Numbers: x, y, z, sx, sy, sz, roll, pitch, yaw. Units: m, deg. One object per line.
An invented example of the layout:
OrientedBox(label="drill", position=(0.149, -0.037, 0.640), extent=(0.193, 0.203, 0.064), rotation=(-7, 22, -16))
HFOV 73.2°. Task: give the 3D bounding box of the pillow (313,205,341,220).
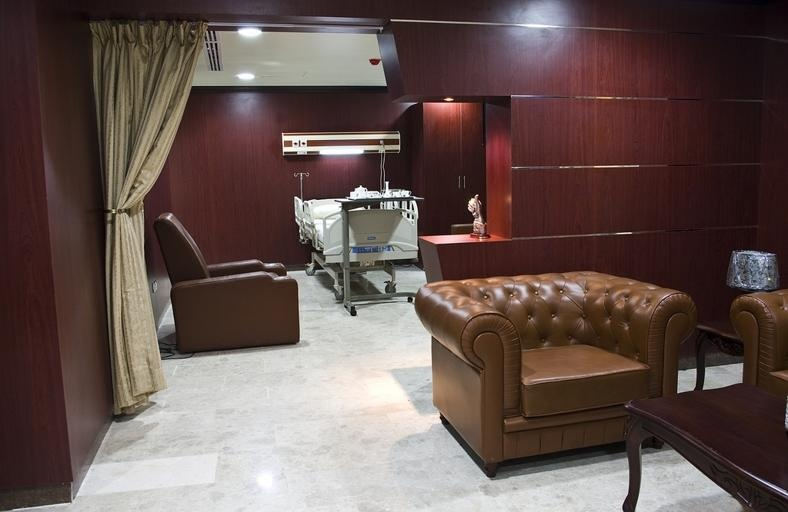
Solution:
OrientedBox(label="pillow", position=(-0.943, -0.641, 7.649), extent=(0.418, 0.201, 0.224), rotation=(-9, 16, -22))

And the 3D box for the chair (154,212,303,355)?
OrientedBox(label="chair", position=(-1.703, 0.239, 5.437), extent=(1.302, 1.246, 0.991), rotation=(-3, 11, -22))

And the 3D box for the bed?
OrientedBox(label="bed", position=(-0.579, -0.203, 7.307), extent=(1.156, 1.320, 2.238), rotation=(-2, 9, -17))

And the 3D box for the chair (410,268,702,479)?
OrientedBox(label="chair", position=(1.056, 0.702, 3.728), extent=(1.672, 0.893, 1.151), rotation=(-2, 7, -11))

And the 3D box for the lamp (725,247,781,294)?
OrientedBox(label="lamp", position=(2.645, 0.102, 3.926), extent=(0.318, 0.264, 0.322), rotation=(1, 2, 29))
